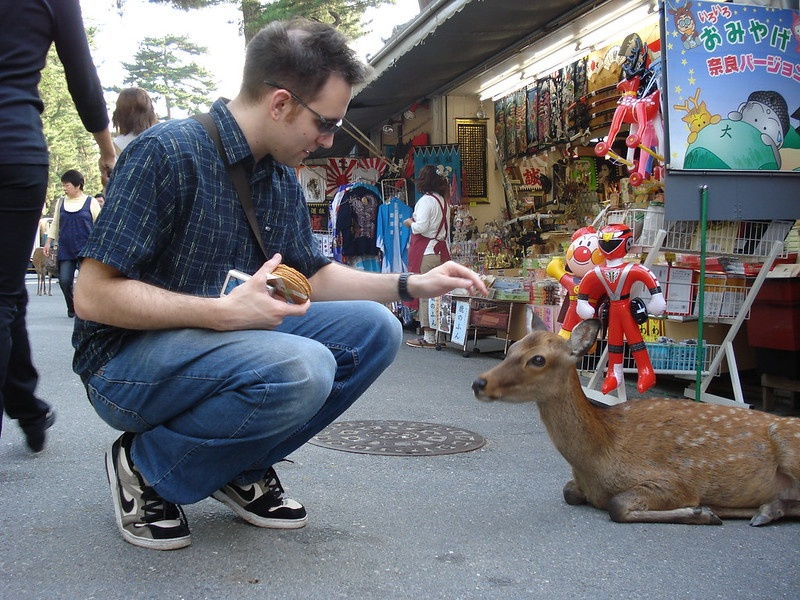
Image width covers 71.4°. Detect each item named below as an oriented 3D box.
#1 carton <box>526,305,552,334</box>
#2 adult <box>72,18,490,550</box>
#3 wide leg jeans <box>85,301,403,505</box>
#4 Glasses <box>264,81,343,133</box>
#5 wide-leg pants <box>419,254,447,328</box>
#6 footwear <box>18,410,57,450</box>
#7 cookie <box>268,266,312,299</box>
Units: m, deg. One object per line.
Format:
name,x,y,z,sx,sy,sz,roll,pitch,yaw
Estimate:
carton,1.292,0.151,5.117,0.325,0.091,0.359,-1,34,0
adult,-0.515,-0.080,2.556,1.694,2.154,1.284,-2,5,-41
wide leg jeans,-0.649,0.363,2.351,0.933,0.574,0.909,9,8,3
Glasses,-0.379,-0.781,2.267,0.238,0.063,0.180,36,-10,-10
wide-leg pants,0.412,-0.130,8.531,0.321,0.956,0.692,4,0,-16
footwear,-2.256,0.806,3.462,0.114,0.214,0.218,23,31,-18
cookie,-0.414,-0.058,2.140,0.130,0.057,0.132,24,-19,0
